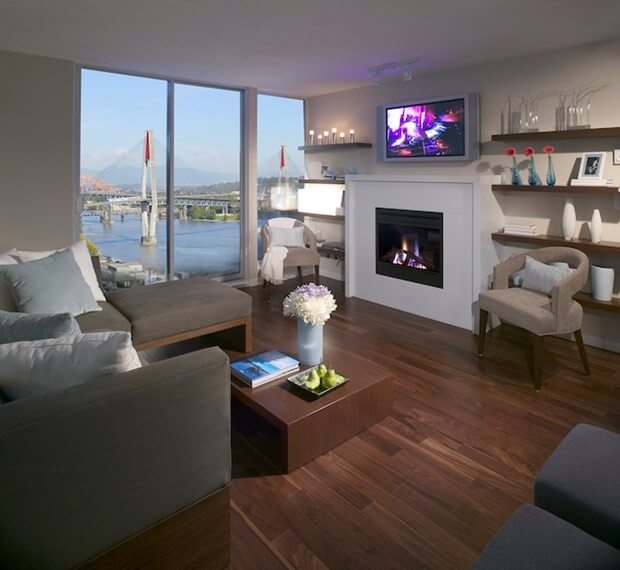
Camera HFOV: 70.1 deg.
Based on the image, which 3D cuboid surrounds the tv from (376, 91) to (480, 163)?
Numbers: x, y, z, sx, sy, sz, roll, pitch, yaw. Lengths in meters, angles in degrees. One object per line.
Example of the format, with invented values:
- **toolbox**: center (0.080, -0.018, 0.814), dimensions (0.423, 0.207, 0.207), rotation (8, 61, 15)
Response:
- **tv**: center (1.283, -1.713, 4.904), dimensions (0.143, 0.642, 1.293), rotation (-9, 17, -36)

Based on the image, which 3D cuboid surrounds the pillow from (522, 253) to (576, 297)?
- **pillow**: center (1.872, -0.060, 3.536), dimensions (0.118, 0.254, 0.341), rotation (-5, 18, -30)

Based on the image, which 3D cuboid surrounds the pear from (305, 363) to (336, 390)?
- **pear**: center (0.059, 0.499, 2.483), dimensions (0.140, 0.136, 0.119), rotation (3, -6, -27)

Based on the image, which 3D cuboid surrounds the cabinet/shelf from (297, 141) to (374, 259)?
- **cabinet/shelf**: center (0.271, -1.152, 6.108), dimensions (0.450, 1.615, 1.284), rotation (-8, 15, -31)

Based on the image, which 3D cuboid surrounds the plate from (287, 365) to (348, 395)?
- **plate**: center (0.062, 0.536, 2.501), dimensions (0.200, 0.072, 0.189), rotation (-12, 17, -41)

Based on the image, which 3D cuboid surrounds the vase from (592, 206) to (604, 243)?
- **vase**: center (2.382, -0.495, 3.675), dimensions (0.098, 0.265, 0.292), rotation (8, 16, 32)

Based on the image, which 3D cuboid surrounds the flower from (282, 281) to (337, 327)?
- **flower**: center (-0.006, 0.107, 2.709), dimensions (0.281, 0.258, 0.220), rotation (7, 15, 26)

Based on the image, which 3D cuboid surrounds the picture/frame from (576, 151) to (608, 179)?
- **picture/frame**: center (2.346, -0.998, 3.665), dimensions (0.031, 0.356, 0.236), rotation (7, 0, -38)

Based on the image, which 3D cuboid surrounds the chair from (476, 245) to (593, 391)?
- **chair**: center (1.762, 0.176, 3.488), dimensions (0.606, 0.941, 0.744), rotation (-9, 15, -21)

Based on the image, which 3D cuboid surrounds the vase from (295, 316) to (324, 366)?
- **vase**: center (0.003, 0.385, 2.828), dimensions (0.193, 0.347, 0.189), rotation (-14, 23, -38)

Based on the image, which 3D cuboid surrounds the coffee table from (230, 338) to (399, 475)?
- **coffee table**: center (-0.011, 0.685, 2.702), dimensions (0.897, 0.319, 0.650), rotation (-12, 18, -39)

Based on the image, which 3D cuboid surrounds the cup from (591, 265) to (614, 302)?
- **cup**: center (2.357, -0.017, 3.581), dimensions (0.173, 0.253, 0.243), rotation (10, 17, 37)

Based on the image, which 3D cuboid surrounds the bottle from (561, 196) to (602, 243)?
- **bottle**: center (2.322, -0.556, 3.768), dimensions (0.371, 0.480, 0.146), rotation (2, -1, -10)

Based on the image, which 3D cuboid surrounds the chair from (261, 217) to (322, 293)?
- **chair**: center (-0.242, -0.454, 6.000), dimensions (0.718, 1.047, 0.902), rotation (-1, 5, -20)
